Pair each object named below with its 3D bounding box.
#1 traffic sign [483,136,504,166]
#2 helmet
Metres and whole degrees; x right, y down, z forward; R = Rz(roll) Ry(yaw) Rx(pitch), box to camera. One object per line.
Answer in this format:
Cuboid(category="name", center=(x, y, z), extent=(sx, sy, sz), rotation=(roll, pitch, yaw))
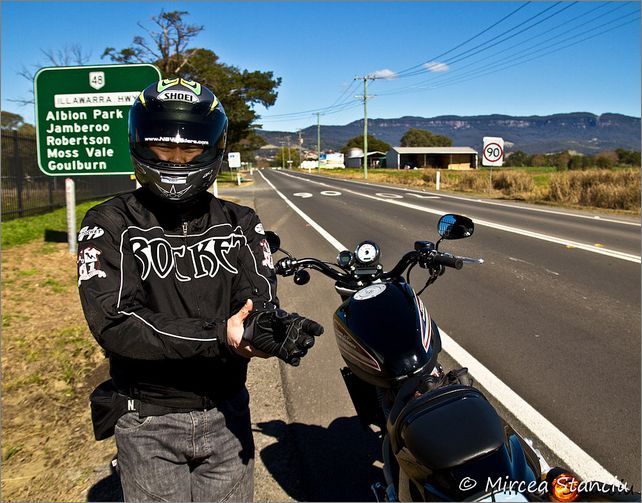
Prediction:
Cuboid(category="traffic sign", center=(6.876, -3.946, 19.304), extent=(0.764, 1.151, 1.055), rotation=(3, 14, 17))
Cuboid(category="helmet", center=(-0.687, -0.608, 2.544), extent=(0.445, 0.539, 0.626), rotation=(-1, 26, -11))
